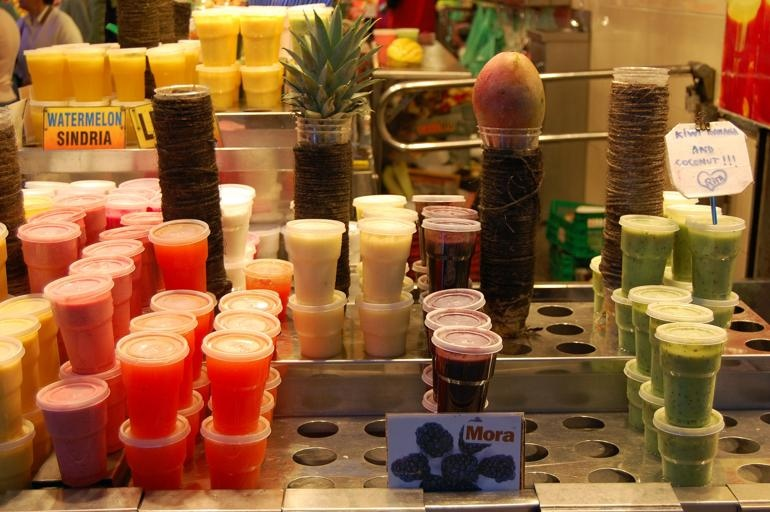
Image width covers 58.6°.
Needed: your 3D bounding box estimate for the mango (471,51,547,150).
[{"bbox_3d":[0.372,-0.460,2.051,0.175,0.304,0.196,19,29,37],"label":"mango"}]
